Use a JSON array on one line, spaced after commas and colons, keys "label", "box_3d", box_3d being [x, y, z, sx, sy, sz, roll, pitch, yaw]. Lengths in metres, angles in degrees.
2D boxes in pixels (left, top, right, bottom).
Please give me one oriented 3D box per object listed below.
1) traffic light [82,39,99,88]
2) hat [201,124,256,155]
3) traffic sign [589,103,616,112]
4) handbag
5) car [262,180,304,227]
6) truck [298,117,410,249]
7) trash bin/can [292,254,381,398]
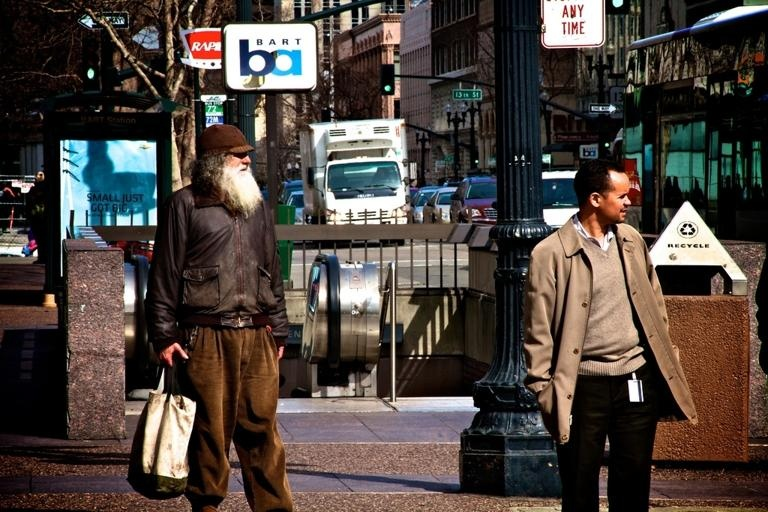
[{"label": "traffic light", "box_3d": [-5.366, -3.524, 22.172, 0.283, 1.004, 0.943, 0, 2, -13]}, {"label": "hat", "box_3d": [-1.199, -0.863, 9.077, 0.295, 0.157, 0.226, -5, 6, -1]}, {"label": "traffic sign", "box_3d": [5.985, -4.064, 33.427, 0.713, 0.240, 0.526, 0, 2, 1]}, {"label": "handbag", "box_3d": [-1.610, 1.358, 8.773, 0.481, 0.757, 0.205, 0, 2, -9]}, {"label": "car", "box_3d": [-3.239, -1.756, 40.552, 1.456, 1.294, 3.383, 0, 1, -9]}, {"label": "truck", "box_3d": [-0.836, -2.195, 33.697, 1.912, 2.396, 4.061, -1, -4, -5]}, {"label": "trash bin/can", "box_3d": [-0.509, 0.840, 14.598, 0.943, 1.690, 0.734, 0, 2, -2]}]
